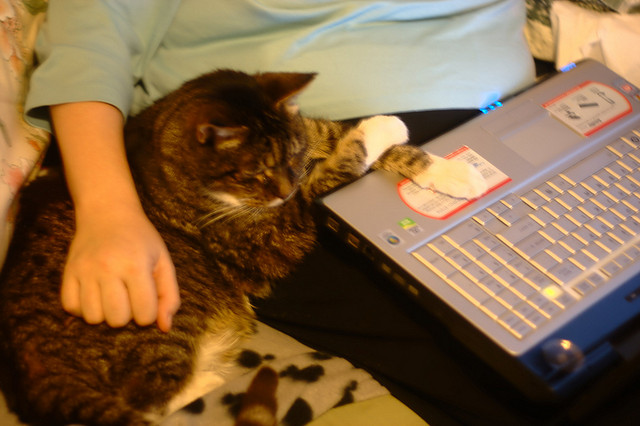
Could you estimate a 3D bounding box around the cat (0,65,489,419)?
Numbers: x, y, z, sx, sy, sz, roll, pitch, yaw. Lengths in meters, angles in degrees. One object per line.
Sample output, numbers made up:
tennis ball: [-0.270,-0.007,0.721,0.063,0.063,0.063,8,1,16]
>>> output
cat: [-0.190,0.102,1.449,1.145,0.435,0.645,-34,63,-19]
